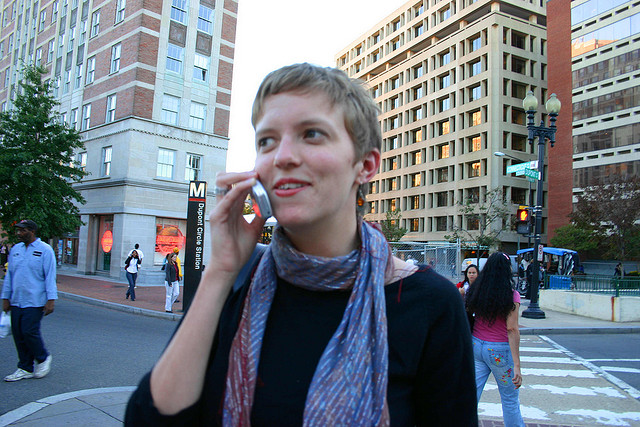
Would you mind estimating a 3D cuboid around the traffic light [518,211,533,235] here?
[{"bbox_3d":[8.737,0.370,20.185,0.489,0.904,1.582,0,-4,24],"label":"traffic light"}]

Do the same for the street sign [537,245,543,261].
[{"bbox_3d":[8.686,1.533,18.651,0.161,0.627,0.697,0,-4,27],"label":"street sign"}]

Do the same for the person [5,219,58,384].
[{"bbox_3d":[-6.184,1.808,10.045,0.955,3.366,0.744,4,-4,-31],"label":"person"}]

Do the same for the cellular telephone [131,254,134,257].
[{"bbox_3d":[-8.062,1.793,20.286,0.099,0.100,0.214,4,-5,-35],"label":"cellular telephone"}]

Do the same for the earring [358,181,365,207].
[{"bbox_3d":[0.487,-0.217,5.556,0.077,0.231,0.078,2,-3,-1],"label":"earring"}]
